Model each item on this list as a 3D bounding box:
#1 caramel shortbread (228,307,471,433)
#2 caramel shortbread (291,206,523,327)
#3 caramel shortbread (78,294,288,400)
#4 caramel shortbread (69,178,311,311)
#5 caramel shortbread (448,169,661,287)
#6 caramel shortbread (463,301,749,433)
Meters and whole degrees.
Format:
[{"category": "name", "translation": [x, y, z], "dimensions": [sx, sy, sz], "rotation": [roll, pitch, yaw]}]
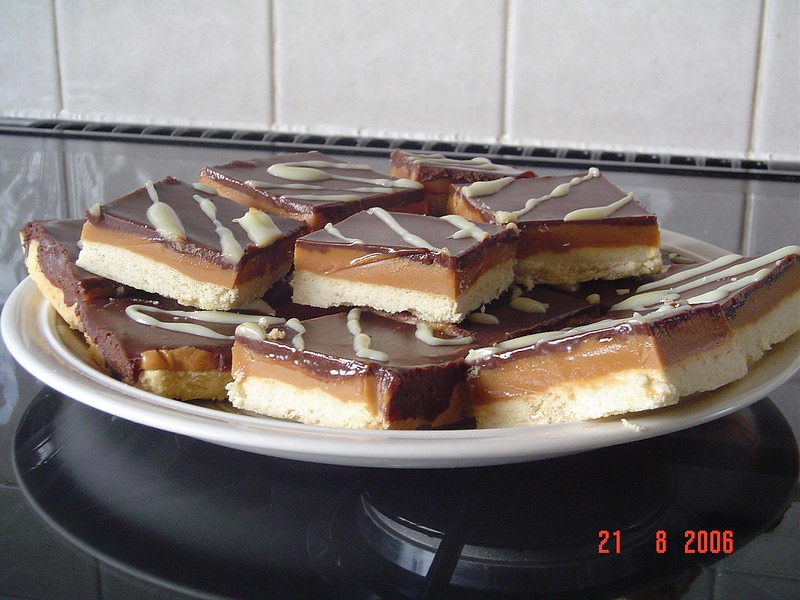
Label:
[{"category": "caramel shortbread", "translation": [-0.076, 0.120, 1.102], "dimensions": [0.254, 0.078, 0.231], "rotation": [6, 10, 25]}, {"category": "caramel shortbread", "translation": [0.083, -0.049, 1.385], "dimensions": [0.529, 0.142, 0.441], "rotation": [2, 7, -23]}, {"category": "caramel shortbread", "translation": [-0.381, 0.067, 1.168], "dimensions": [0.256, 0.056, 0.234], "rotation": [13, 14, 25]}, {"category": "caramel shortbread", "translation": [-0.386, -0.123, 1.373], "dimensions": [0.385, 0.099, 0.343], "rotation": [1, 33, -20]}, {"category": "caramel shortbread", "translation": [0.310, -0.151, 1.460], "dimensions": [0.349, 0.122, 0.292], "rotation": [-7, 25, -14]}, {"category": "caramel shortbread", "translation": [0.280, 0.101, 1.047], "dimensions": [0.279, 0.076, 0.259], "rotation": [-9, -3, 29]}]
